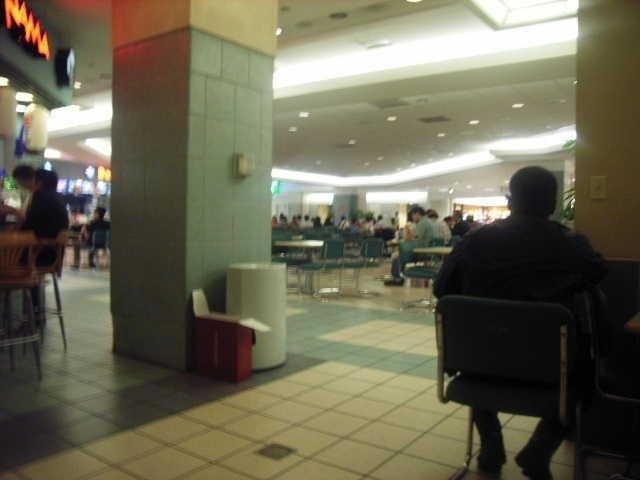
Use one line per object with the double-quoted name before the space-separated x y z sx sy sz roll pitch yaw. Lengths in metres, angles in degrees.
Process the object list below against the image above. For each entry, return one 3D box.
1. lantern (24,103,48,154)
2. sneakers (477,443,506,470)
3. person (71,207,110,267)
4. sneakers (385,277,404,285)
"lantern" -4.910 -1.972 8.647 0.333 0.776 0.455 -1 1 -32
"sneakers" 1.024 1.318 2.988 0.163 0.156 0.143 0 4 9
"person" -5.585 -0.061 12.165 1.399 1.532 0.554 1 2 37
"sneakers" 1.559 0.879 10.562 0.500 0.219 0.163 -3 4 -24
